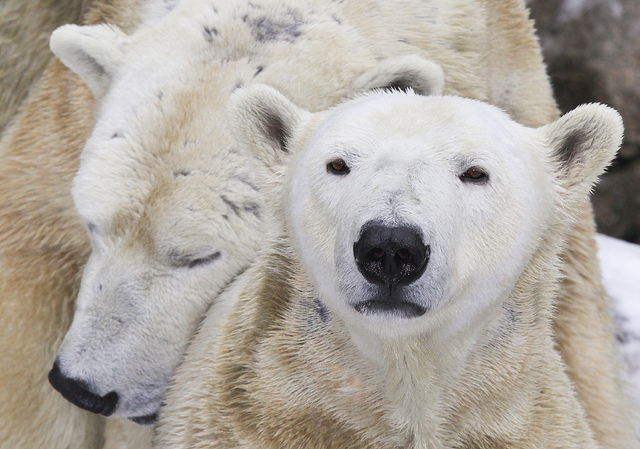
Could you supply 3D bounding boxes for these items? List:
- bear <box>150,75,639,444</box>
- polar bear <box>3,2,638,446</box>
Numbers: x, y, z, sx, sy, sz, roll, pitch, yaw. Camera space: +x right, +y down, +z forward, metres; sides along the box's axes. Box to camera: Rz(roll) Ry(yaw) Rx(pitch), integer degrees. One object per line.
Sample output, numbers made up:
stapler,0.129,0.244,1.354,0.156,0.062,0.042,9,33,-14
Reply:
bear,0.269,-0.021,2.627,0.867,0.842,1.220,15,33,13
polar bear,-0.139,-0.236,3.099,1.094,1.063,1.988,28,37,19
